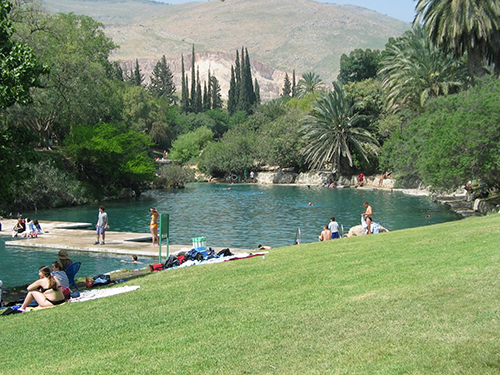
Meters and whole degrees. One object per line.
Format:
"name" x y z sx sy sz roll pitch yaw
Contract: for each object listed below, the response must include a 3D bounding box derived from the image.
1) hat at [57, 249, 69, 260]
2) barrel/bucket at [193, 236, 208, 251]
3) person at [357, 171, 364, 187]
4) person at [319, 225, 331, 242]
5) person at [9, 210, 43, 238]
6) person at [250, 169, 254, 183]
"hat" -8.804 3.105 32.435 0.486 0.266 0.624 10 -5 -10
"barrel/bucket" -2.823 3.085 37.961 0.657 0.782 0.707 -2 -2 0
"person" 15.616 -1.209 98.023 0.739 1.854 1.226 0 -3 18
"person" 4.517 2.774 41.574 0.665 0.921 1.465 -4 10 8
"person" -15.106 2.583 46.296 2.315 1.666 1.182 1 2 18
"person" 0.341 -1.860 114.186 0.741 1.497 1.438 -5 9 1
